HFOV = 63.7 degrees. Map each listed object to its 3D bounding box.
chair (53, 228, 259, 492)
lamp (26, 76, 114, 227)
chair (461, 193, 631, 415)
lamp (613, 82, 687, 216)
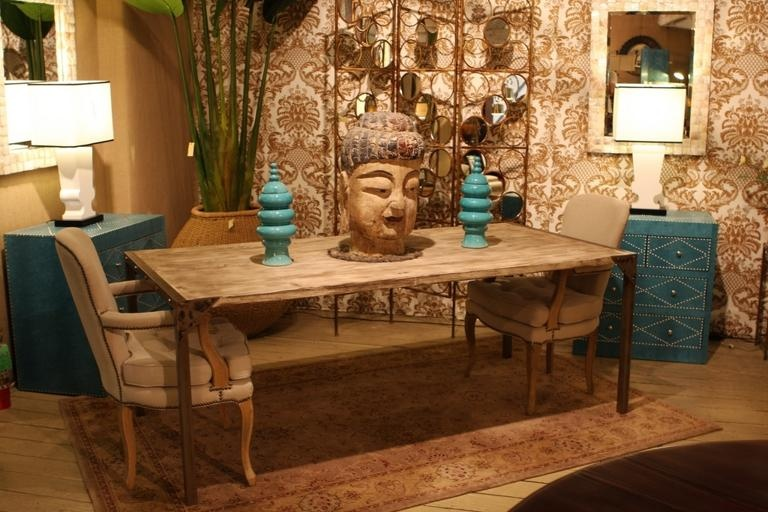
[{"bbox_3d":[-1.166,0.480,3.147,1.018,1.094,0.869,3,6,-14],"label":"chair"},{"bbox_3d":[-1.964,-0.653,3.853,0.341,0.855,0.445,6,17,25],"label":"lamp"},{"bbox_3d":[1.051,0.236,3.834,0.974,1.071,0.782,-9,16,-11],"label":"chair"},{"bbox_3d":[1.949,-0.737,4.309,0.505,0.820,0.343,14,22,40],"label":"lamp"}]
